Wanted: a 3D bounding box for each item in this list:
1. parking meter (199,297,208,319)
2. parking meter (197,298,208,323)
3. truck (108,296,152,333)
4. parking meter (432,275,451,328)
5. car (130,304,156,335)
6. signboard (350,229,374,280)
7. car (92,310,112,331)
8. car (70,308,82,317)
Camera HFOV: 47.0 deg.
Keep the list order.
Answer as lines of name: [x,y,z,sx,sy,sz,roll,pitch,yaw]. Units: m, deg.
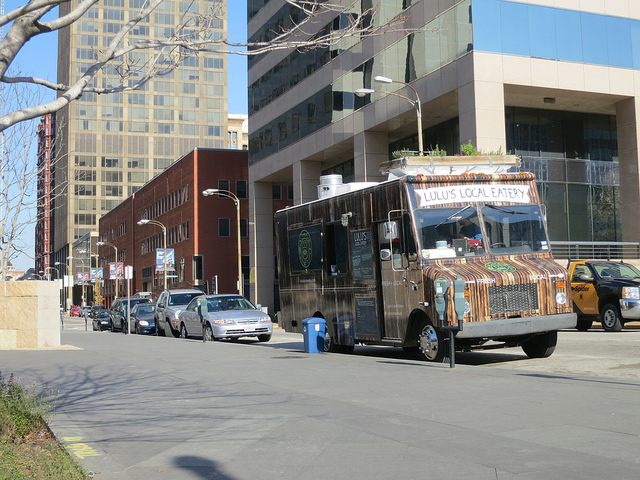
parking meter: [-4.233,2.467,26.753,0.226,0.766,0.634,-7,0,-10]
parking meter: [-4.296,2.571,27.041,0.381,0.909,1.256,-7,0,-10]
truck: [-10.755,4.053,41.278,1.570,1.537,3.348,2,-10,-30]
parking meter: [2.544,1.244,15.064,0.358,1.022,0.399,-7,0,10]
car: [-9.222,4.094,38.096,1.127,1.551,2.339,-7,0,-16]
signboard: [1.058,0.327,18.122,0.066,1.281,1.118,0,-7,-20]
car: [-15.471,5.710,52.244,0.985,0.966,2.148,2,-9,-24]
car: [-39.919,11.749,120.112,1.930,1.552,3.183,2,-7,-22]
